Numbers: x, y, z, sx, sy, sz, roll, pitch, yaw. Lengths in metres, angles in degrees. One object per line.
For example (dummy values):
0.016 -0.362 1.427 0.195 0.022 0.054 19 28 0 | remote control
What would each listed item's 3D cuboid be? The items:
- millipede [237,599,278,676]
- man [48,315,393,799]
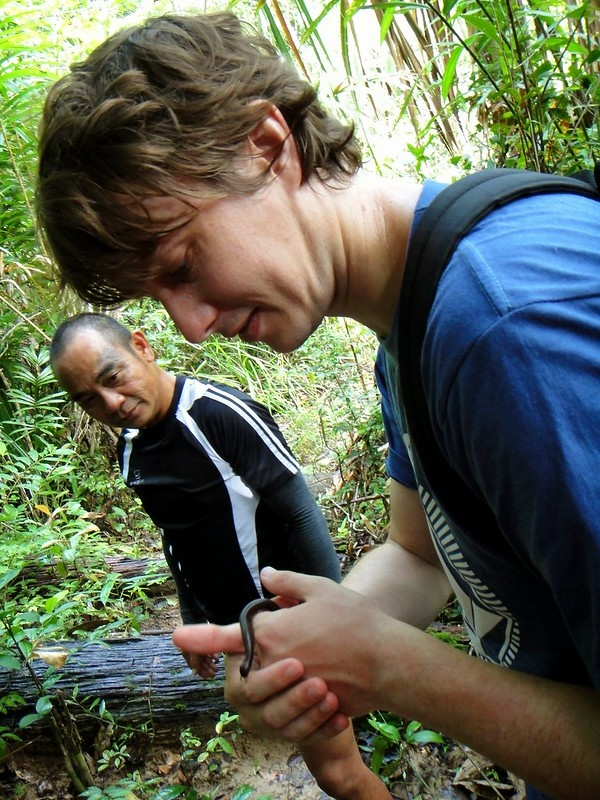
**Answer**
-0.082 0.450 1.250 0.067 0.110 0.024 -26 -39 31 | millipede
-0.363 0.500 2.909 0.946 1.065 0.606 -19 0 44 | man
